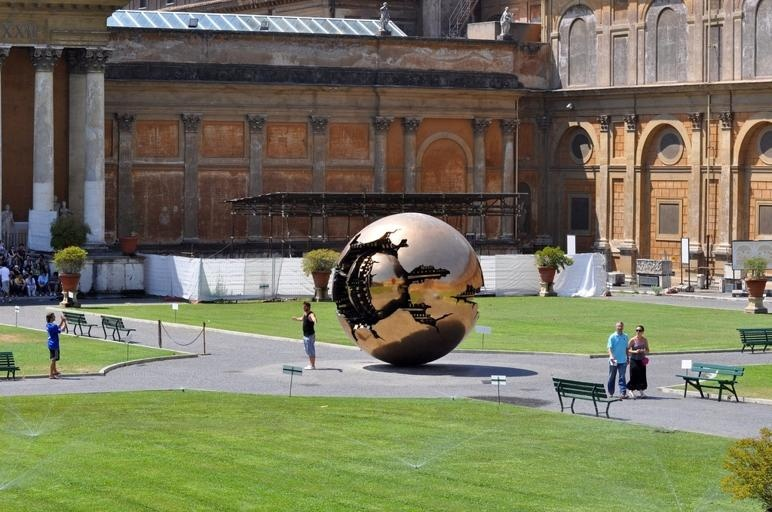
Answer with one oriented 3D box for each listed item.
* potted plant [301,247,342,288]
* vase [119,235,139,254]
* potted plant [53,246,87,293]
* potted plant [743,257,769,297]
[{"bbox_3d":[-2.516,0.522,76.103,2.177,2.112,1.853,-1,-4,29],"label":"potted plant"},{"bbox_3d":[-12.432,-0.583,79.164,1.014,0.735,0.979,0,0,-26],"label":"vase"},{"bbox_3d":[-14.171,0.516,73.102,2.128,2.361,1.870,0,4,-3],"label":"potted plant"},{"bbox_3d":[16.845,0.976,73.594,0.930,1.885,1.519,-1,-2,12],"label":"potted plant"}]
